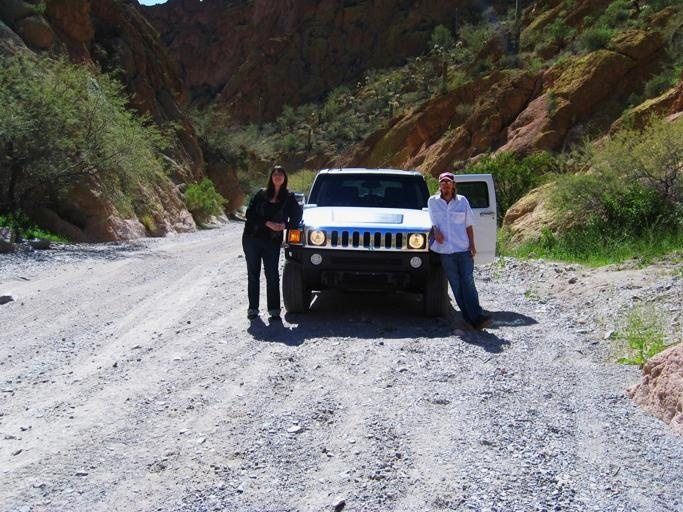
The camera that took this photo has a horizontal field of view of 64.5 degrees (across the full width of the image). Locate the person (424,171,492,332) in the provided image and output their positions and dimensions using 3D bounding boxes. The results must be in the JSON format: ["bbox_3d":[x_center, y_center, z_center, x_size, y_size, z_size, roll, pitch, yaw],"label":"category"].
[{"bbox_3d":[1.532,-0.086,7.153,0.827,1.973,0.417,3,11,16],"label":"person"}]
